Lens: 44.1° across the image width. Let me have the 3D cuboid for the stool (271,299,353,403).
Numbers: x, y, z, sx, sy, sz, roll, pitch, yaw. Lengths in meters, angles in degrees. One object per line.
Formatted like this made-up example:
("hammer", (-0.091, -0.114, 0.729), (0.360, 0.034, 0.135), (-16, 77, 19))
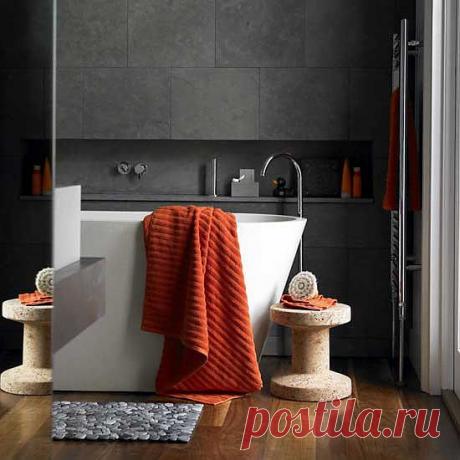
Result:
("stool", (0.371, 0.535, 2.560), (0.318, 0.399, 0.341), (-2, 3, 19))

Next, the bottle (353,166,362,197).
("bottle", (0.740, -0.278, 3.293), (0.050, 0.180, 0.094), (1, 1, 10))

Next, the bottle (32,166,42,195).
("bottle", (-0.310, -0.080, 0.911), (0.014, 0.049, 0.058), (0, 1, -7))

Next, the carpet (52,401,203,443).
("carpet", (-0.422, 0.713, 2.134), (0.609, 0.017, 0.383), (1, 1, 3))

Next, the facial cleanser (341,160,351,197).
("facial cleanser", (0.687, -0.306, 3.343), (0.060, 0.233, 0.168), (1, 1, 11))
